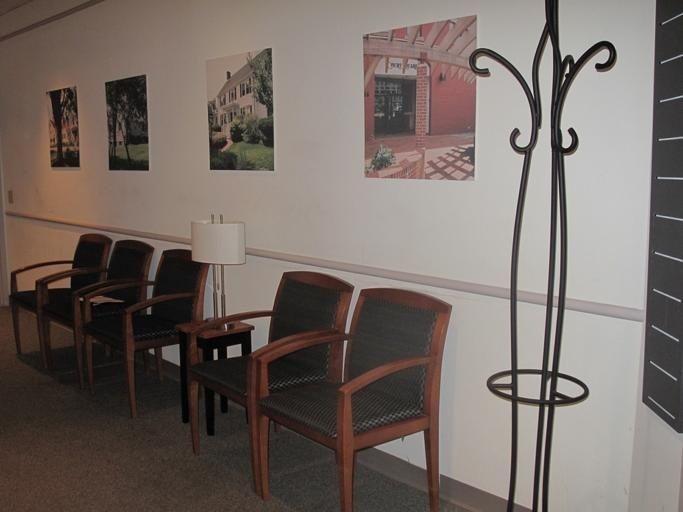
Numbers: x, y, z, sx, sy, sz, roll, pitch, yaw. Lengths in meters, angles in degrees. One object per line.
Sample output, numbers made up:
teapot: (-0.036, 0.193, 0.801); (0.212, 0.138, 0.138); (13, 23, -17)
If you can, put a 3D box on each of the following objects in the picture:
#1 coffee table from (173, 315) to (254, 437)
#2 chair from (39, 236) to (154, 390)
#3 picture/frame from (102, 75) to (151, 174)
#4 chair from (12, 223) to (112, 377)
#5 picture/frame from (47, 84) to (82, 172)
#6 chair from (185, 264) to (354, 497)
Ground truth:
coffee table: (-1.004, 0.850, 4.062); (0.453, 0.707, 0.474); (-1, 0, -42)
chair: (-2.252, 0.480, 5.043); (0.717, 1.263, 0.855); (8, 6, 23)
picture/frame: (-2.076, -1.299, 5.378); (0.012, 1.052, 0.847); (-3, 7, -44)
chair: (-2.766, 0.411, 5.483); (0.706, 1.270, 0.798); (8, 6, 42)
picture/frame: (-3.098, -1.453, 6.197); (0.011, 1.037, 0.813); (-4, 10, -41)
chair: (-0.507, 0.761, 3.572); (0.875, 1.296, 0.946); (8, 3, 27)
